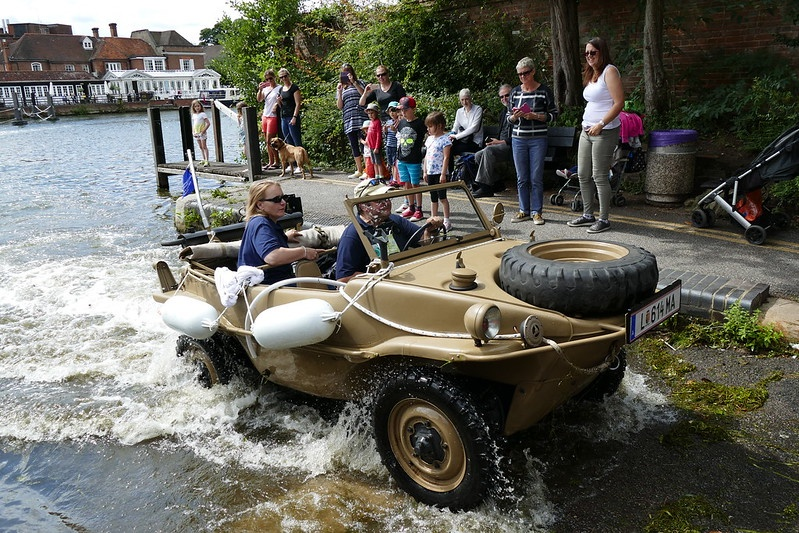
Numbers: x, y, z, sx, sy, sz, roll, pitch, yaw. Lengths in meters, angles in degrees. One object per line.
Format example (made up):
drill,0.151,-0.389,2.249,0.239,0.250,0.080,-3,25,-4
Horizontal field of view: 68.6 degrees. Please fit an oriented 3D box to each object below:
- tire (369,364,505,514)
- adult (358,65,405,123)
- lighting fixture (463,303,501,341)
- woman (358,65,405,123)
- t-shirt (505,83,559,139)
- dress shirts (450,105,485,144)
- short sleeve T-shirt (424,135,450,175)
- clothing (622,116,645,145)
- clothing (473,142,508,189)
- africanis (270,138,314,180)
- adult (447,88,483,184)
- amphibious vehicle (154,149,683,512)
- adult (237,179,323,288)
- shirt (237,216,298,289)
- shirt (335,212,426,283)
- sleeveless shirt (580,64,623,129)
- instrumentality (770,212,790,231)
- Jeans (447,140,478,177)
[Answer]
tire,0.370,1.492,5.083,1.037,1.100,0.378,13,24,36
adult,-0.336,-3.663,12.447,0.747,1.084,1.220,-6,19,-12
lighting fixture,0.708,0.457,4.889,0.316,0.326,0.247,-11,13,-31
woman,-0.336,-3.663,12.447,0.747,1.084,1.220,-6,19,-12
t-shirt,2.098,-2.413,9.192,0.815,0.803,0.459,6,18,30
dress shirts,1.293,-2.692,11.231,0.667,0.772,0.546,-11,18,-41
short sleeve T-shirt,0.627,-1.817,9.529,0.282,0.702,0.617,-4,8,-44
clothing,3.877,-2.340,9.842,0.702,0.489,0.260,-18,24,-39
clothing,1.770,-1.921,10.984,0.628,0.764,0.569,3,1,-6
africanis,-2.750,-2.808,15.154,1.407,0.924,0.466,13,24,35
adult,1.145,-2.528,11.239,0.959,1.732,0.641,-16,27,-36
amphibious vehicle,-0.174,0.552,6.219,4.930,2.436,2.908,5,16,40
adult,-1.270,-0.136,6.500,0.865,1.603,0.788,-4,21,-9
shirt,-1.479,-0.306,6.555,0.599,1.037,0.927,-6,11,-24
shirt,-0.172,-0.170,5.690,0.513,0.417,0.283,-29,-5,-22
sleeveless shirt,2.809,-2.368,8.209,0.467,0.845,0.315,8,21,29
instrumentality,5.785,-0.688,8.876,0.245,0.259,0.102,2,24,44
Jeans,1.198,-2.114,11.308,0.743,0.915,0.655,3,17,2
